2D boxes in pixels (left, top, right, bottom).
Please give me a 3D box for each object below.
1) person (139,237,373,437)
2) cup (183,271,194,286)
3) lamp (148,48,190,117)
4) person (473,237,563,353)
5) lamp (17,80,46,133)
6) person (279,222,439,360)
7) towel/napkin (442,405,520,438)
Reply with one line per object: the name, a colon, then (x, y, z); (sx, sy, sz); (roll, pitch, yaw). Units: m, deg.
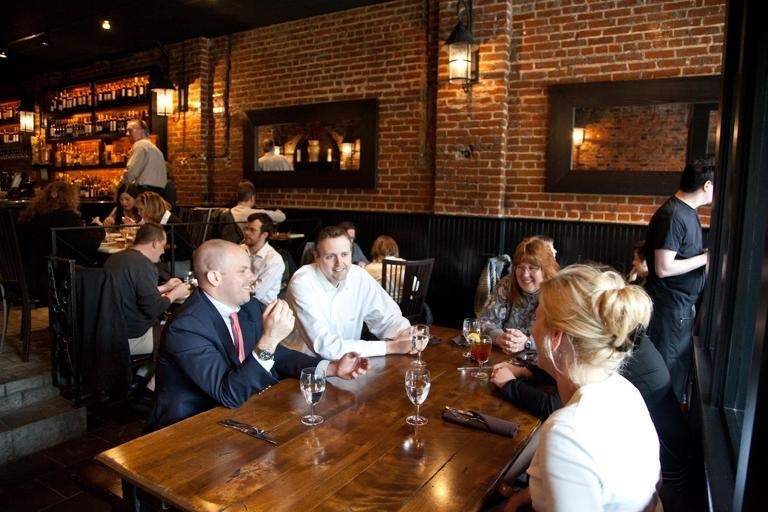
person: (-0.801, 0.364, 3.172); (1.327, 1.210, 0.768); (-6, 12, 9)
cup: (-1.934, 0.225, 5.364); (0.141, 0.137, 0.252); (7, -3, -18)
lamp: (-3.255, -2.686, 8.227); (0.518, 1.110, 0.959); (-4, 8, -23)
person: (0.916, 0.238, 3.652); (0.535, 0.762, 0.792); (14, 3, 34)
lamp: (-6.720, -2.841, 10.266); (0.408, 1.068, 0.987); (-8, 10, -43)
person: (-0.275, 0.226, 3.610); (0.999, 0.717, 0.678); (2, 8, 44)
towel/napkin: (0.451, 0.782, 2.546); (0.238, 0.039, 0.139); (5, 7, 27)
